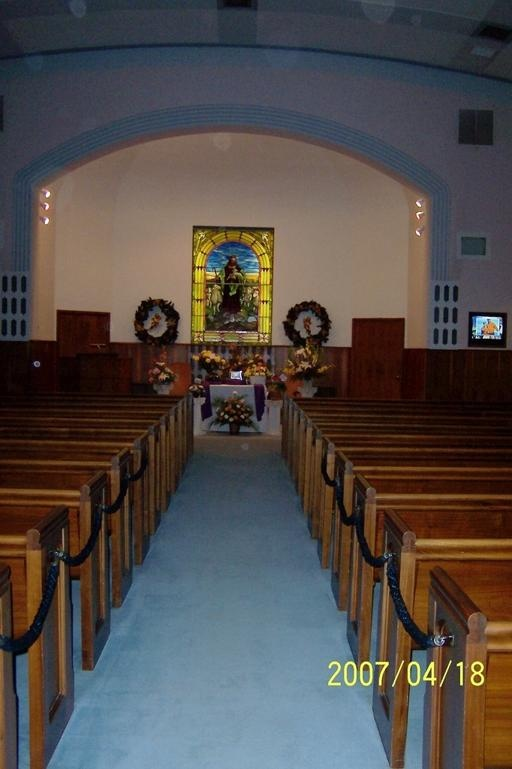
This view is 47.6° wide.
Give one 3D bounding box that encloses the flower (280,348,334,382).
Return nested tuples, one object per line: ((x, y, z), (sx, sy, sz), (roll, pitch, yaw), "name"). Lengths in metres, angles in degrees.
((0.864, -0.389, 11.324), (0.895, 0.657, 0.876), (-2, -2, 36), "flower")

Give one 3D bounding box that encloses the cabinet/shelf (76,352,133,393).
((-2.752, -0.375, 10.848), (1.082, 0.786, 0.634), (1, 5, 0), "cabinet/shelf")

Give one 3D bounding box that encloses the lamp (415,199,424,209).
((3.023, -3.316, 10.729), (0.072, 0.105, 0.243), (4, -4, 9), "lamp")

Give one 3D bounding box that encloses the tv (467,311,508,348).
((4.027, -0.984, 10.134), (0.538, 0.560, 0.061), (5, 1, -1), "tv")

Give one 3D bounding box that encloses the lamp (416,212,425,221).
((3.037, -3.123, 10.734), (0.136, 0.061, 0.199), (16, -28, 15), "lamp")

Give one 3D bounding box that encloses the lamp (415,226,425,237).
((3.072, -2.852, 10.906), (0.071, 0.099, 0.229), (12, -1, 7), "lamp")
